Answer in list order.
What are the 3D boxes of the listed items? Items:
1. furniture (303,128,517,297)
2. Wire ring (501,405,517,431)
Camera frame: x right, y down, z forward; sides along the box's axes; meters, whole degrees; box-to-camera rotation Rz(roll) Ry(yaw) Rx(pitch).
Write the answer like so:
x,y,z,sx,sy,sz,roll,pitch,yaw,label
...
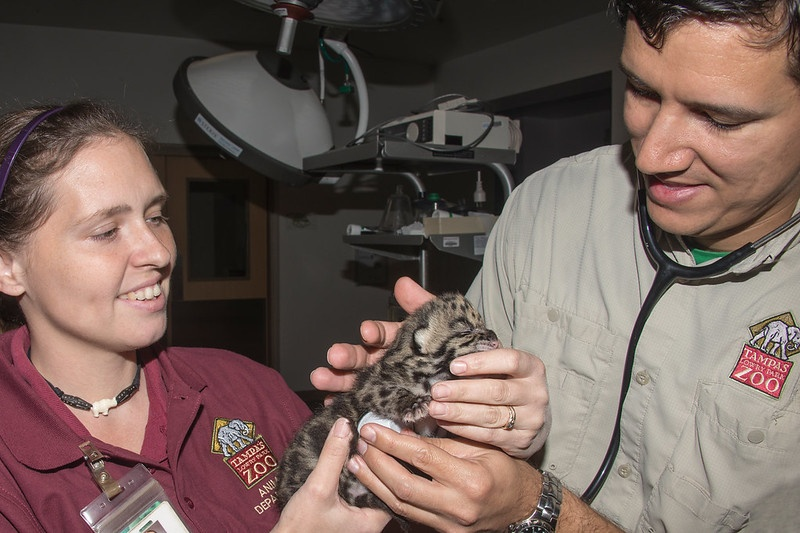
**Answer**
x,y,z,sx,sy,sz,roll,pitch,yaw,label
0.255,-0.371,5.437,1.133,1.241,1.439,2,5,-5,furniture
0.480,0.666,2.712,0.058,0.124,0.050,-2,5,-19,Wire ring
